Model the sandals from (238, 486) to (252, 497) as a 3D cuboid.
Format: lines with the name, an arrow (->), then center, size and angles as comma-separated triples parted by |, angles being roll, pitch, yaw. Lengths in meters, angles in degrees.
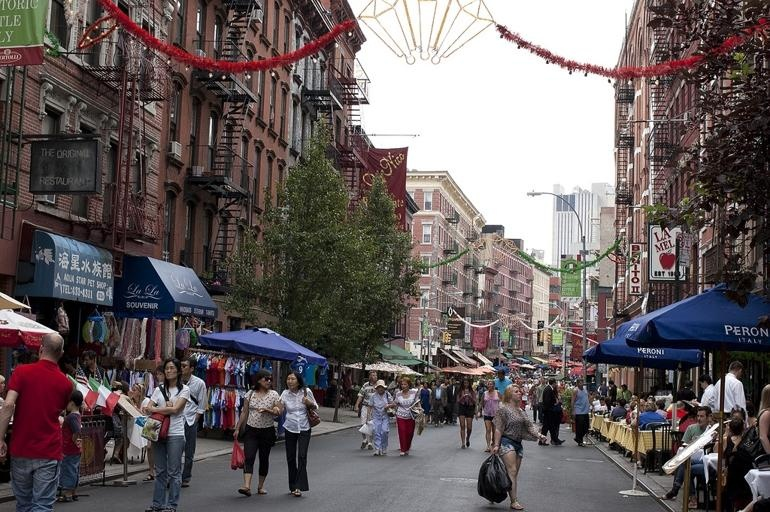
sandals -> -2.893, 4.891, 19.661 | 0.120, 0.143, 0.331 | 2, -36, 11

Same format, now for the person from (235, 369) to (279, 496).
person -> -2.748, 3.810, 20.497 | 0.936, 2.634, 1.490 | 1, -11, -10

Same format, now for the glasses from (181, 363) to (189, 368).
glasses -> -3.995, 2.195, 19.014 | 0.084, 0.070, 0.100 | -10, -20, 44

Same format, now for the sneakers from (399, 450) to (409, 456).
sneakers -> 0.567, 5.895, 28.327 | 0.103, 0.145, 0.333 | -2, -19, 10

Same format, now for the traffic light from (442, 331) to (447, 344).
traffic light -> 5.536, 7.391, 86.617 | 0.627, 1.105, 1.478 | -2, -12, 4

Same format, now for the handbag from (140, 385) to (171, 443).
handbag -> -4.334, 3.235, 17.930 | 0.590, 0.551, 0.299 | -9, -14, 36

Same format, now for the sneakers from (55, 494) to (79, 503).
sneakers -> -6.310, 4.820, 18.844 | 0.375, 0.190, 0.146 | 6, -6, 6

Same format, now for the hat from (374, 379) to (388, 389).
hat -> -0.168, 4.103, 30.162 | 0.512, 0.307, 0.487 | 2, -5, -2

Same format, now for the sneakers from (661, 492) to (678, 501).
sneakers -> 6.249, 5.300, 20.898 | 0.319, 0.142, 0.115 | 1, -8, 20

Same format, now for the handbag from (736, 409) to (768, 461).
handbag -> 6.056, 3.000, 15.755 | 0.329, 0.617, 0.551 | 27, -27, 6

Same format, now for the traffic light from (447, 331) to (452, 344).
traffic light -> 5.695, 7.444, 86.349 | 0.631, 0.997, 0.280 | -2, -6, -9
